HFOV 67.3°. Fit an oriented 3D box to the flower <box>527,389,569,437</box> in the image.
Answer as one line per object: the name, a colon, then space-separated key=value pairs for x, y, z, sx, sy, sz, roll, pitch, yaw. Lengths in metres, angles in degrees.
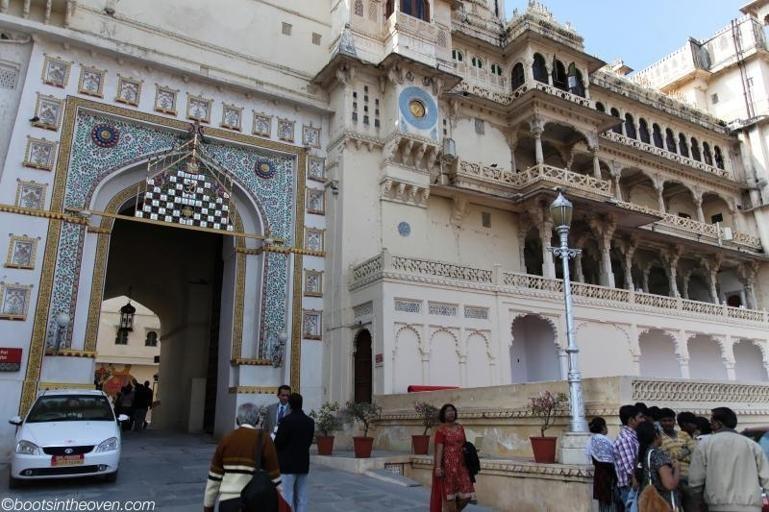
flower: x=4.381 y=4.058 z=14.684 sx=1.189 sy=1.365 sz=0.991 roll=6 pitch=-10 yaw=-20

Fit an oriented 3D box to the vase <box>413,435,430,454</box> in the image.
vase: x=1.005 y=5.339 z=16.293 sx=0.545 sy=0.406 sz=0.546 roll=-6 pitch=-13 yaw=33

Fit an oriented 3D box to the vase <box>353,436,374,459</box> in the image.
vase: x=-0.563 y=5.337 z=16.173 sx=0.584 sy=0.550 sz=0.688 roll=0 pitch=-8 yaw=-2

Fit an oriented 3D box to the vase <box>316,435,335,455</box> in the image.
vase: x=-1.728 y=5.587 z=16.999 sx=0.480 sy=0.540 sz=0.836 roll=4 pitch=-14 yaw=-6

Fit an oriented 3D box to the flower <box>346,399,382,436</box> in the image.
flower: x=-0.610 y=4.992 z=17.844 sx=0.806 sy=0.893 sz=0.718 roll=4 pitch=-10 yaw=-2

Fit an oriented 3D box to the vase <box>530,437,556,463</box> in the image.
vase: x=3.815 y=4.615 z=13.746 sx=0.588 sy=0.437 sz=0.580 roll=3 pitch=-10 yaw=-6

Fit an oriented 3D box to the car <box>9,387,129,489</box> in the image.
car: x=-7.316 y=4.268 z=13.493 sx=2.406 sy=2.178 sz=1.609 roll=2 pitch=-14 yaw=0

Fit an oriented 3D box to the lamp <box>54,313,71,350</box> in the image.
lamp: x=-10.166 y=2.444 z=18.094 sx=0.334 sy=1.166 sz=0.333 roll=10 pitch=-17 yaw=-28

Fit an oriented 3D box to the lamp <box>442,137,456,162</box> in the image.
lamp: x=2.736 y=-4.567 z=24.345 sx=0.707 sy=1.092 sz=0.355 roll=10 pitch=-17 yaw=-28
